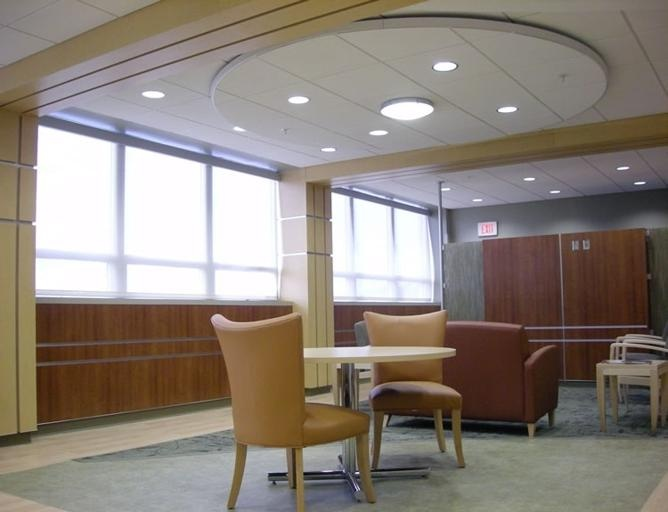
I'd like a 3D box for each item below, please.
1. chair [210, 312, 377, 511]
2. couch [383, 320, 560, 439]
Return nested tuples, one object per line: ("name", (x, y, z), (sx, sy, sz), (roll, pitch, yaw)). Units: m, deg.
("chair", (-0.273, 1.020, 3.365), (0.993, 1.278, 0.567), (0, -5, -15))
("couch", (1.659, 1.172, 5.557), (1.418, 1.258, 1.001), (-3, -3, 28))
